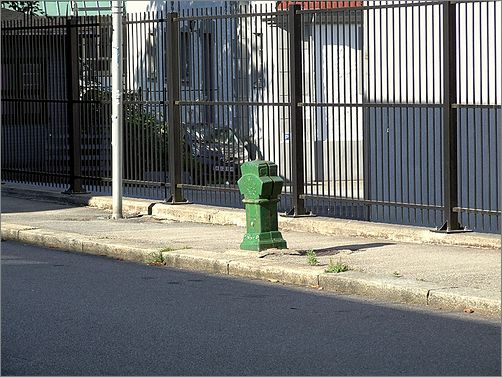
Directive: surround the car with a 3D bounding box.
[{"bbox_3d":[-0.743,-0.680,14.205,0.831,0.913,1.638,-3,1,-19],"label":"car"}]
